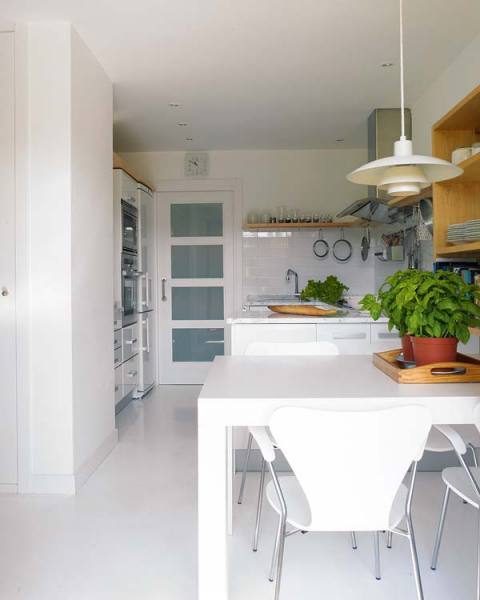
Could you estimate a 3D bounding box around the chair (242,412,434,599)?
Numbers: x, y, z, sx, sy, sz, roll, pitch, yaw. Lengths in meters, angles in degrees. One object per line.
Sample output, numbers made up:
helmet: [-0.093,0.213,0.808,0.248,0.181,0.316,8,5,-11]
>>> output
chair: [0.273,0.610,1.443,0.479,0.725,0.483,-1,2,2]

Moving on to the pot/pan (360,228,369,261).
pot/pan: [1.255,-0.544,4.949,0.052,0.270,0.121,-2,4,-15]

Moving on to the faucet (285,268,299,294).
faucet: [0.528,-0.183,4.984,0.137,0.276,0.132,-1,2,5]

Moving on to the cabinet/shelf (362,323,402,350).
cabinet/shelf: [0.847,0.216,2.993,0.263,0.212,0.262,0,-3,-1]

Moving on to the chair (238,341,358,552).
chair: [0.259,0.670,2.290,0.508,0.845,0.509,0,7,1]

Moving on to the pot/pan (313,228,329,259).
pot/pan: [0.817,-0.563,4.957,0.153,0.295,0.066,-2,4,4]

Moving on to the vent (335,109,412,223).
vent: [1.098,-1.121,4.034,0.435,0.870,0.737,2,7,7]

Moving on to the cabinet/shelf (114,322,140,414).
cabinet/shelf: [-0.905,0.531,3.950,0.109,0.342,0.676,-1,4,-4]
